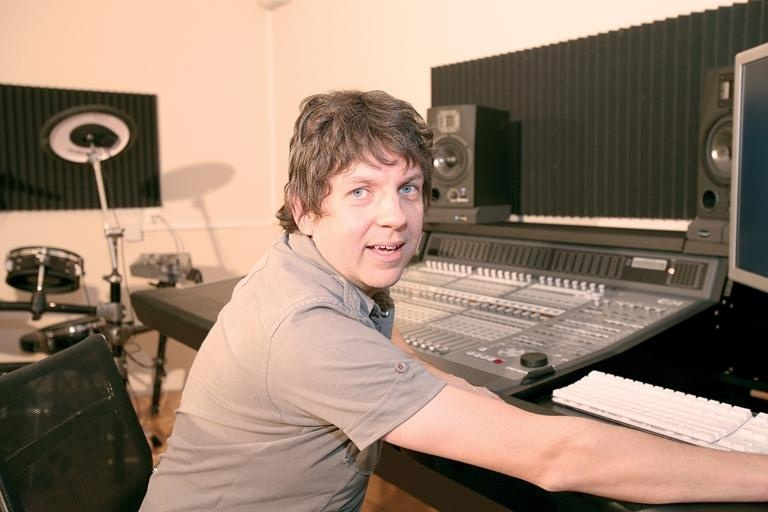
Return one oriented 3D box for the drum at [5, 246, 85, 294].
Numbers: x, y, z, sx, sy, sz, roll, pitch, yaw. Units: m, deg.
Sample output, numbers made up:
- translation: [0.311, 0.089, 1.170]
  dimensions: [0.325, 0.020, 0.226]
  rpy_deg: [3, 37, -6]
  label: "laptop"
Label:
- translation: [-2.124, 0.077, 3.333]
  dimensions: [0.411, 0.146, 0.386]
  rpy_deg: [-1, -15, 0]
  label: "drum"
